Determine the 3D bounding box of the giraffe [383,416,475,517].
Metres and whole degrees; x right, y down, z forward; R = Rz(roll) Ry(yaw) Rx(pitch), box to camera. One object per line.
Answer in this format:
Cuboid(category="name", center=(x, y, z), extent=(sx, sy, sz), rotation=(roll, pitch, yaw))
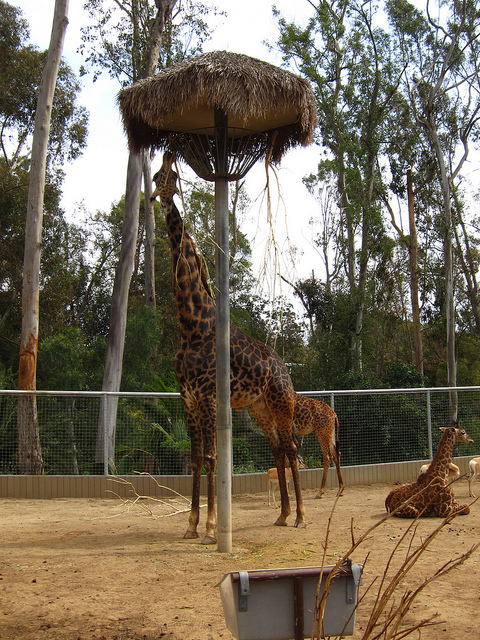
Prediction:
Cuboid(category="giraffe", center=(2.195, 1.704, 7.171), extent=(1.262, 0.998, 0.654), rotation=(6, -8, -37))
